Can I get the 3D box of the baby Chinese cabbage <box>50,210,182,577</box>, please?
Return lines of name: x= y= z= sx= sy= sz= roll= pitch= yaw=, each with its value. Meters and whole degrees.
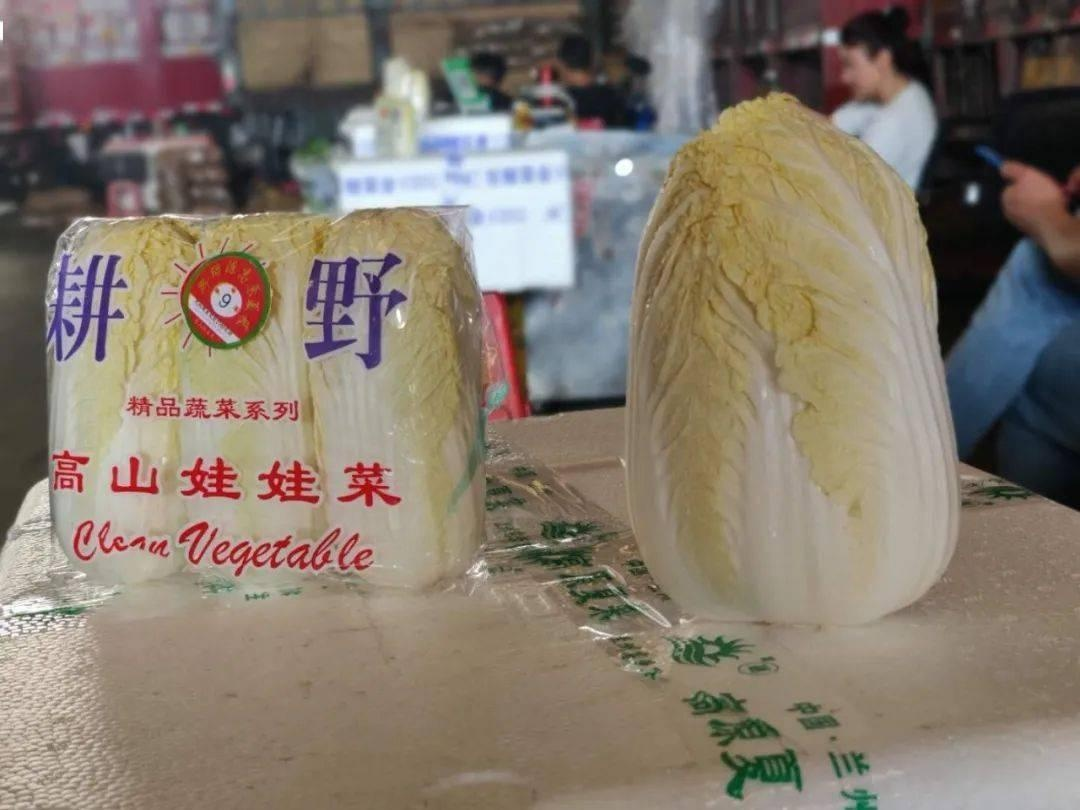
baby Chinese cabbage: x=-0.794 y=-0.018 z=2.380 sx=0.277 sy=0.628 sz=0.190 roll=0 pitch=0 yaw=-32

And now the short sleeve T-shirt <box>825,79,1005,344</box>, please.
short sleeve T-shirt: x=1.442 y=-0.708 z=4.717 sx=0.687 sy=0.736 sz=0.215 roll=18 pitch=12 yaw=40
